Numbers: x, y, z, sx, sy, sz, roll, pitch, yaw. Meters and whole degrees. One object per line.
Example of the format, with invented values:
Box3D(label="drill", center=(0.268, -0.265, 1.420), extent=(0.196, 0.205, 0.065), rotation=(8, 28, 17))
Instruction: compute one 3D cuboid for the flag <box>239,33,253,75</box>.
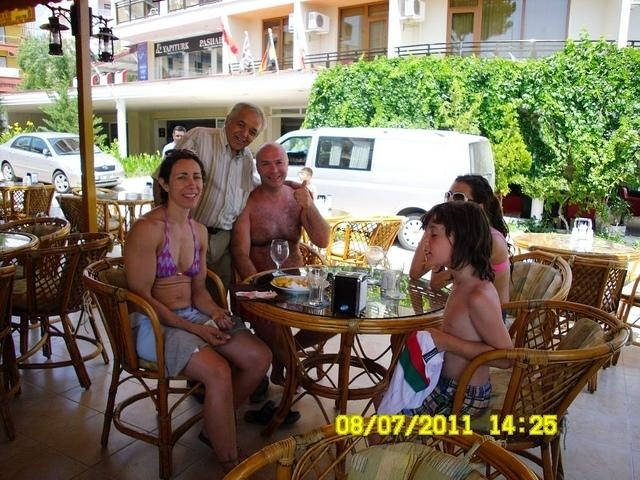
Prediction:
Box3D(label="flag", center=(-2.655, -6.701, 15.699), extent=(0.568, 1.582, 0.211), rotation=(-5, -11, 17))

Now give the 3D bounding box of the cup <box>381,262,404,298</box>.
Box3D(label="cup", center=(0.419, 0.242, 2.590), extent=(0.118, 0.157, 0.193), rotation=(3, 10, 9))

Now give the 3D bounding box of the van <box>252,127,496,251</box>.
Box3D(label="van", center=(1.107, -1.302, 8.963), extent=(4.192, 1.839, 2.101), rotation=(9, 13, 23))

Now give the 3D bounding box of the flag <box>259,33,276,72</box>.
Box3D(label="flag", center=(-1.759, -6.259, 14.728), extent=(0.652, 1.688, 0.157), rotation=(-3, -17, 3))

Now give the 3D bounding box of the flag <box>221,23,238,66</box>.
Box3D(label="flag", center=(-3.604, -7.959, 17.628), extent=(0.684, 1.796, 2.352), rotation=(-1, 10, -12))

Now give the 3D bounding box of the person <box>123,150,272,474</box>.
Box3D(label="person", center=(-0.682, 0.315, 2.540), extent=(0.782, 1.635, 0.574), rotation=(6, 11, 24))

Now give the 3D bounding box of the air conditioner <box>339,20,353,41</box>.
Box3D(label="air conditioner", center=(0.934, -7.732, 16.484), extent=(0.693, 0.716, 0.523), rotation=(-1, 7, -11))

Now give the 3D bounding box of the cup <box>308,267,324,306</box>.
Box3D(label="cup", center=(-0.025, 0.247, 2.390), extent=(0.086, 0.179, 0.144), rotation=(1, 10, -2))

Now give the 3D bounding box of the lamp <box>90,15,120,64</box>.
Box3D(label="lamp", center=(-3.537, -3.309, 7.133), extent=(0.430, 0.742, 0.351), rotation=(5, 10, -7))

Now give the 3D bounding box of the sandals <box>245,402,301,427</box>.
Box3D(label="sandals", center=(-0.278, 1.135, 2.902), extent=(0.418, 0.183, 0.146), rotation=(5, 6, -3))
